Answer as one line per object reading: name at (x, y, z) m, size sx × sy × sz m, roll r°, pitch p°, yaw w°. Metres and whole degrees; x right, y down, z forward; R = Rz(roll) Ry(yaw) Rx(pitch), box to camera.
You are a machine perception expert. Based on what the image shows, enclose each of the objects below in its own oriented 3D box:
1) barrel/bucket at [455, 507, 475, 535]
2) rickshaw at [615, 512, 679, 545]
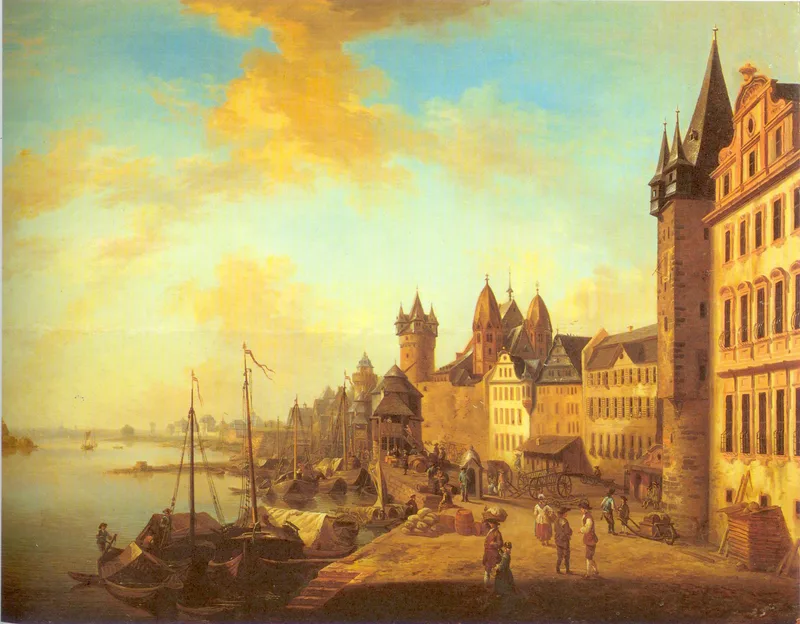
barrel/bucket at (1.919, 6.155, 34.213) m, size 0.623 × 0.597 × 0.609 m, roll 0°, pitch -8°, yaw 0°
rickshaw at (7.031, 6.208, 33.935) m, size 0.656 × 0.761 × 2.355 m, roll 5°, pitch -6°, yaw -38°
